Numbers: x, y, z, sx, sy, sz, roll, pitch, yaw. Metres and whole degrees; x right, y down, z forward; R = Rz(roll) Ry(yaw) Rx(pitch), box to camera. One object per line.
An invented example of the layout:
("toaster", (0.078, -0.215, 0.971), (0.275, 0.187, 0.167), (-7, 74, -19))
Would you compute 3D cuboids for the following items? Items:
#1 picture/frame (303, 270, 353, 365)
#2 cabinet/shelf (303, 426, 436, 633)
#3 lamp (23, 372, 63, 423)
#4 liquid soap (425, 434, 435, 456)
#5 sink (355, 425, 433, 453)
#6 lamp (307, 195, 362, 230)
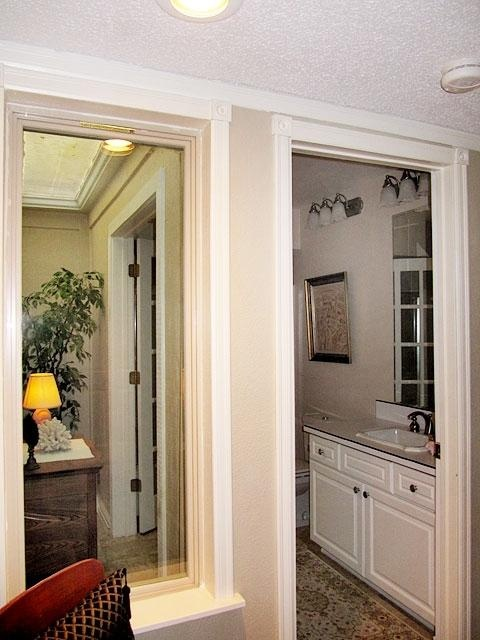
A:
("picture/frame", (0.696, -0.026, 3.779), (0.050, 0.826, 0.663), (0, -5, -20))
("cabinet/shelf", (0.838, 1.086, 2.787), (0.494, 0.792, 1.045), (2, -1, -26))
("lamp", (-0.586, 0.236, 1.444), (0.095, 0.149, 0.099), (-1, 1, 29))
("liquid soap", (0.927, 0.617, 2.410), (0.038, 0.105, 0.135), (-7, -19, 10))
("sink", (0.899, 0.686, 2.859), (0.190, 0.114, 0.260), (1, 0, -27))
("lamp", (0.724, -0.809, 3.657), (0.076, 0.155, 0.337), (-2, -1, -27))
